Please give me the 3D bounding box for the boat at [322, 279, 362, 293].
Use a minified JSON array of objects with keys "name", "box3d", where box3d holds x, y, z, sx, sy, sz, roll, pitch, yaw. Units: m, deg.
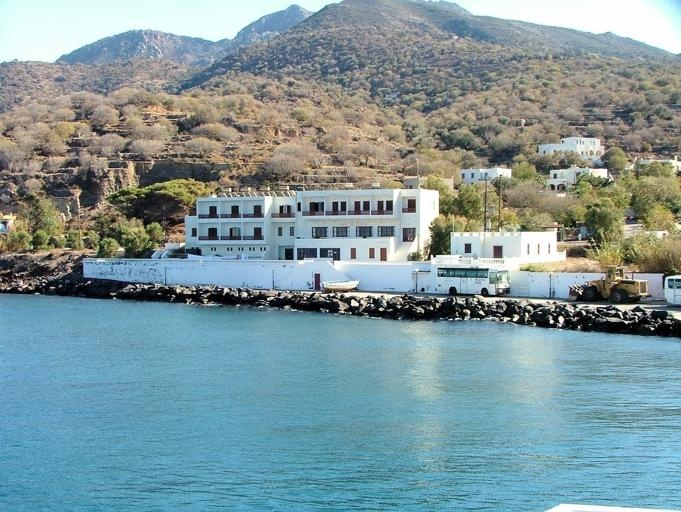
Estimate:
[{"name":"boat","box3d":[-0.016,3.768,149.471,4.478,1.606,1.949,1,-2,-2]}]
